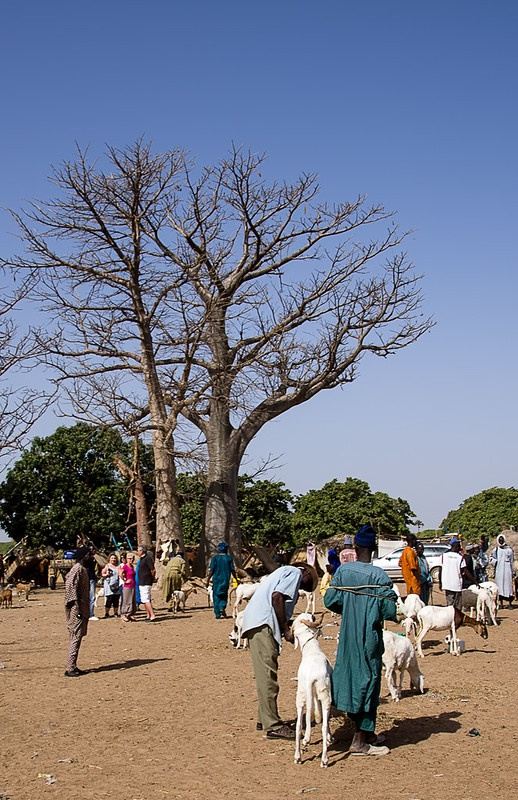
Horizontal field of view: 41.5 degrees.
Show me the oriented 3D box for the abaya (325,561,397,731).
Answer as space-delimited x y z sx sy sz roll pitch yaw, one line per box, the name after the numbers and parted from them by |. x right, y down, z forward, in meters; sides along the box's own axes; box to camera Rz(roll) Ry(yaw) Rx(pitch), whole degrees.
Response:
0.815 1.926 5.350 0.570 1.291 0.370 -5 -11 14 | abaya

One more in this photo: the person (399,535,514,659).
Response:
3.202 3.215 11.422 0.808 1.687 4.092 -8 -12 25 | person

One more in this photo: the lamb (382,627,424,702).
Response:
1.405 2.697 6.957 0.267 0.583 1.122 -5 -26 38 | lamb

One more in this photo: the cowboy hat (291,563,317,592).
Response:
0.445 1.529 6.059 0.114 0.274 0.247 -9 0 -19 | cowboy hat

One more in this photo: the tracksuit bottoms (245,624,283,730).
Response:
0.050 2.417 5.987 0.261 0.911 0.559 -3 -10 -2 | tracksuit bottoms

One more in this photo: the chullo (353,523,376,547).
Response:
0.870 1.107 5.656 0.185 0.187 0.252 8 -13 6 | chullo
